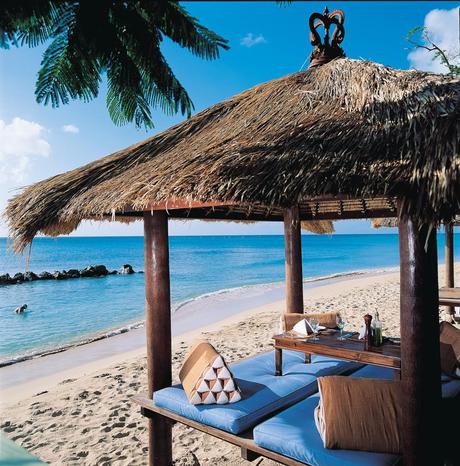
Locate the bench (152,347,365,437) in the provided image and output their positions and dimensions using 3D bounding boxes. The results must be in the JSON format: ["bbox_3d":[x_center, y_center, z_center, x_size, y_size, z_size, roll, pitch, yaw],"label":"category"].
[{"bbox_3d":[0.332,1.276,3.509,0.657,0.121,1.216,-4,-6,39],"label":"bench"}]

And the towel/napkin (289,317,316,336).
[{"bbox_3d":[0.711,0.888,4.134,0.139,0.167,0.196,3,0,-25],"label":"towel/napkin"}]
